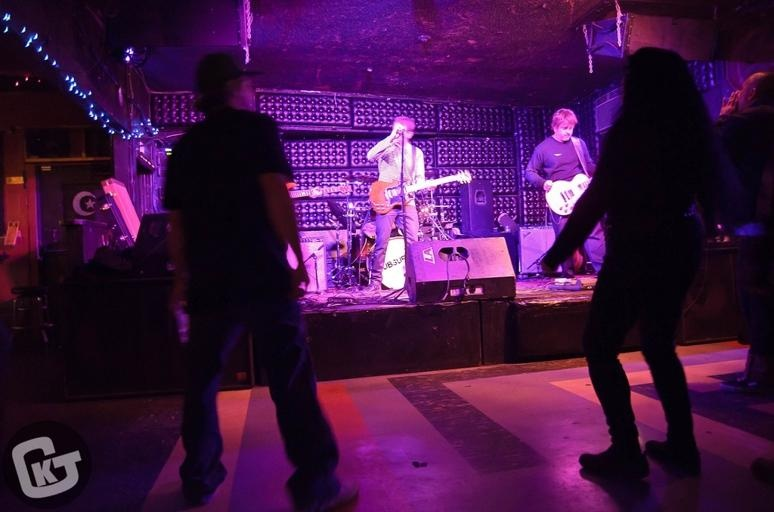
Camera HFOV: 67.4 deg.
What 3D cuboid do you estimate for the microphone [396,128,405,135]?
[{"bbox_3d":[0.161,-1.473,6.788,0.100,0.064,0.086,0,15,8],"label":"microphone"}]

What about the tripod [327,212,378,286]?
[{"bbox_3d":[-0.481,-0.124,8.501,0.982,1.209,1.075,-1,0,-7],"label":"tripod"}]

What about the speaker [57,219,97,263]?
[{"bbox_3d":[-2.673,-0.127,5.044,0.123,0.331,0.338,-5,13,11],"label":"speaker"}]

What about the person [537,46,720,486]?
[{"bbox_3d":[1.681,0.047,3.749,1.047,2.703,0.819,-13,18,-33],"label":"person"}]

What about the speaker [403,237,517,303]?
[{"bbox_3d":[0.709,0.120,5.539,0.946,0.530,0.662,-2,-7,-11],"label":"speaker"}]

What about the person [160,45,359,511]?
[{"bbox_3d":[-0.855,0.349,3.602,1.033,2.453,0.755,-4,15,-5],"label":"person"}]

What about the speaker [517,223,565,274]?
[{"bbox_3d":[1.903,-0.101,7.253,0.791,0.746,0.419,-1,5,-1],"label":"speaker"}]
